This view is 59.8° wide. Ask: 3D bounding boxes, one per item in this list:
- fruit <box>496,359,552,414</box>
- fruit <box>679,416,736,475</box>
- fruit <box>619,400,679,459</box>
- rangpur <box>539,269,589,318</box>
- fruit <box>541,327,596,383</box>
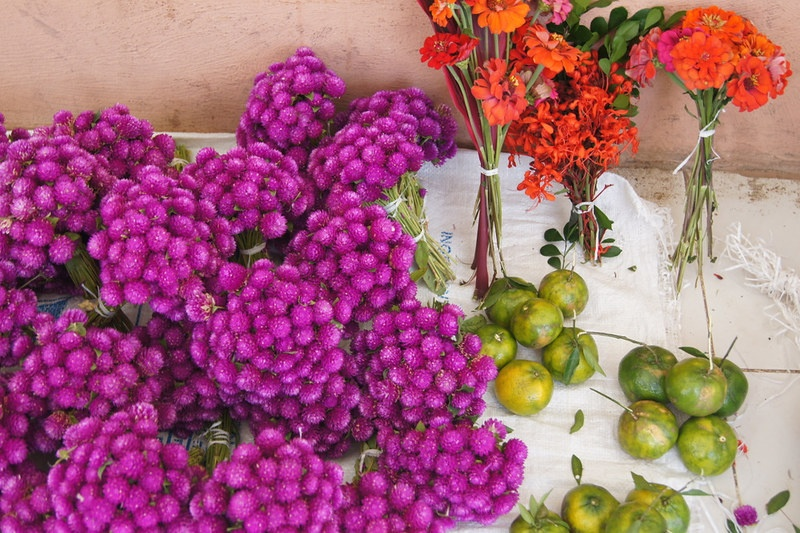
[{"bbox_3d":[0.367,0.365,2.080,0.160,0.154,0.160,8,62,-18],"label":"fruit"},{"bbox_3d":[0.908,0.545,2.120,0.162,0.161,0.170,10,75,12],"label":"fruit"},{"bbox_3d":[0.736,0.487,2.076,0.159,0.128,0.115,22,41,22],"label":"fruit"},{"bbox_3d":[0.544,0.101,2.249,0.112,0.114,0.111,-10,12,-17],"label":"rangpur"},{"bbox_3d":[0.521,0.270,2.218,0.158,0.165,0.175,17,76,11],"label":"fruit"}]
